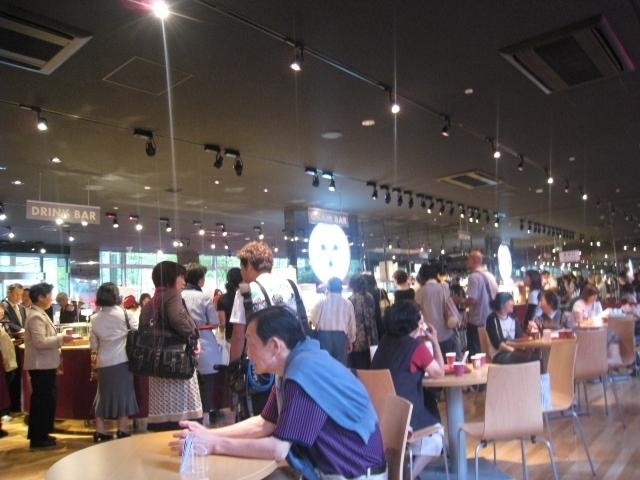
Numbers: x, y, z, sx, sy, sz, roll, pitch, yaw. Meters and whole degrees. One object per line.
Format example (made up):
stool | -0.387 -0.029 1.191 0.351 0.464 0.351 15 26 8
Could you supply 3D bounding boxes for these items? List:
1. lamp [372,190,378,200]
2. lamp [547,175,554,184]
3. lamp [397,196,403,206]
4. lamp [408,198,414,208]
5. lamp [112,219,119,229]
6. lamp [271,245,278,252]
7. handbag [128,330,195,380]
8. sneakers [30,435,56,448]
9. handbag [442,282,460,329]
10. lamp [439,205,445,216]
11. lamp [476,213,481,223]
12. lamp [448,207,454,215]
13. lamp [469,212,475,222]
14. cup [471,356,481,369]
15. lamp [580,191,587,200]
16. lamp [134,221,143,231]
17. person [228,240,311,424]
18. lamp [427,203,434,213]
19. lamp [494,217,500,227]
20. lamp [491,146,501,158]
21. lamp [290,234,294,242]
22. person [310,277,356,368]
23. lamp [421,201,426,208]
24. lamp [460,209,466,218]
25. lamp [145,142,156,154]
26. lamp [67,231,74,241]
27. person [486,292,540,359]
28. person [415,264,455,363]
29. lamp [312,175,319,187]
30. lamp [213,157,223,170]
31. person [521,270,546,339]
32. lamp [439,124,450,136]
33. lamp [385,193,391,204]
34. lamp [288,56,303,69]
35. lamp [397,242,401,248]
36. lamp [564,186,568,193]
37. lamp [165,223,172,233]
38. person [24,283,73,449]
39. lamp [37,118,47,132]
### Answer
lamp | 1.000 -0.832 8.879 0.103 0.160 0.143 3 -1 -11
lamp | 4.156 -1.115 8.857 0.096 0.143 0.264 -4 -4 2
lamp | 1.564 -0.785 9.448 0.170 0.194 0.056 -1 -1 -44
lamp | 1.809 -0.744 9.643 0.119 0.186 0.039 6 -7 -36
lamp | -2.222 -0.184 5.275 0.080 0.098 0.079 -11 2 -40
lamp | -0.676 0.120 7.372 0.088 0.098 0.190 -3 -4 -1
handbag | -1.475 1.097 4.603 0.602 0.696 0.401 1 -13 -1
sneakers | -3.236 2.360 5.736 0.309 0.152 0.128 0 -3 -27
handbag | 1.770 0.907 6.619 0.205 0.624 0.654 -2 -1 14
lamp | 2.612 -0.664 10.394 0.046 0.196 0.238 -2 -1 36
lamp | 3.461 -0.494 10.604 0.080 0.208 0.289 2 7 16
lamp | 2.857 -0.650 10.543 0.098 0.191 0.053 6 -15 3
lamp | 3.325 -0.508 10.658 0.086 0.192 0.183 0 -12 7
cup | 1.442 1.105 4.480 0.099 0.124 0.100 1 1 0
lamp | 4.814 -0.804 8.831 0.102 0.167 0.123 -2 -1 30
lamp | -2.016 -0.152 5.401 0.076 0.074 0.106 -1 -1 -19
person | -0.527 0.933 4.251 0.493 1.860 0.573 19 20 39
lamp | 2.299 -0.677 10.085 0.081 0.227 0.337 -2 -1 25
lamp | 3.636 -0.379 9.975 0.056 0.209 0.130 7 -4 26
lamp | 2.810 -1.402 7.711 0.093 0.136 0.261 -5 -7 11
lamp | -0.416 -0.039 7.322 0.033 0.093 0.083 3 2 42
person | 0.158 1.107 6.076 0.570 1.638 0.425 -2 27 -4
lamp | 2.087 -0.744 9.853 0.079 0.115 0.192 -2 -11 9
lamp | 3.128 -0.593 10.655 0.133 0.200 0.056 -1 -1 -27
lamp | -2.143 -1.162 6.136 0.124 0.145 0.239 -1 -1 -17
lamp | -2.576 -0.040 5.028 0.042 0.083 0.076 -15 -10 -31
person | 2.091 1.049 5.332 0.484 0.943 0.368 6 6 37
person | 1.659 1.170 6.822 0.462 1.895 0.408 -6 21 10
lamp | -0.069 -0.980 8.075 0.125 0.142 0.227 -1 -3 2
lamp | -1.477 -1.130 7.012 0.093 0.148 0.073 18 -20 -42
person | 2.800 0.813 6.346 0.327 1.136 0.378 -6 -28 37
lamp | 1.732 -1.530 6.734 0.093 0.087 0.132 27 14 10
lamp | 1.288 -0.804 9.265 0.143 0.182 0.180 -1 -9 6
lamp | -0.217 -1.789 4.899 0.108 0.095 0.112 -7 10 -33
lamp | 1.346 0.066 8.260 0.066 0.079 0.136 -1 35 5
lamp | 4.586 -0.952 9.020 0.063 0.109 0.030 1 8 19
lamp | -1.772 -0.149 5.684 0.071 0.087 0.072 -7 -3 -34
person | -3.223 1.450 5.636 0.522 1.927 0.506 -1 -1 -8
lamp | -3.205 -1.335 5.609 0.090 0.126 0.126 -1 -12 -17
